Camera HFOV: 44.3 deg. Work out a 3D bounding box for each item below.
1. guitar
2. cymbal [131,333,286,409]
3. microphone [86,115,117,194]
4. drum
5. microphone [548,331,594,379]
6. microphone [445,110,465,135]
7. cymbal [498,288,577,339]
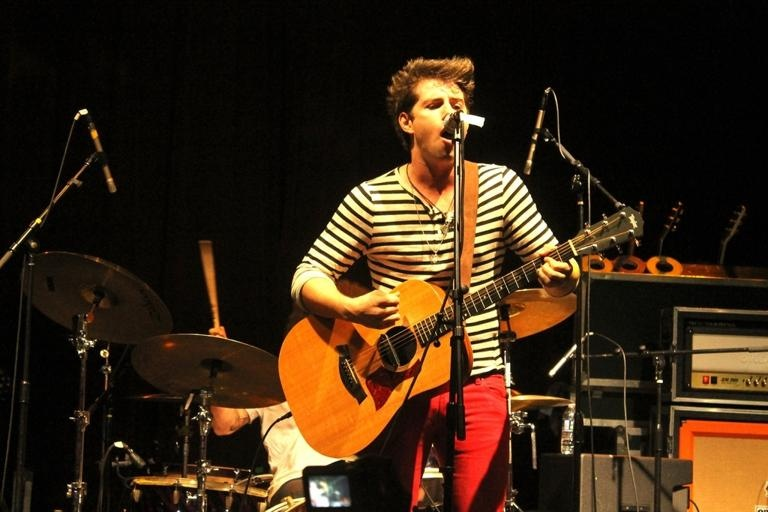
[{"bbox_3d":[0.487,0.363,6.183,2.710,1.138,0.364,-32,-2,7],"label":"guitar"},{"bbox_3d":[-1.222,0.777,6.570,0.690,0.206,0.702,22,-44,-15],"label":"cymbal"},{"bbox_3d":[-2.323,-0.816,7.786,0.110,0.757,0.133,-14,4,30],"label":"microphone"},{"bbox_3d":[-1.330,1.699,6.789,0.954,0.268,0.339,-3,-19,9],"label":"drum"},{"bbox_3d":[1.393,0.753,7.097,0.525,0.087,0.097,-48,-27,2],"label":"microphone"},{"bbox_3d":[0.420,-0.811,5.719,0.033,0.082,0.146,-12,-44,-55],"label":"microphone"},{"bbox_3d":[1.114,0.405,6.889,0.418,0.101,0.439,-12,-38,7],"label":"cymbal"}]
